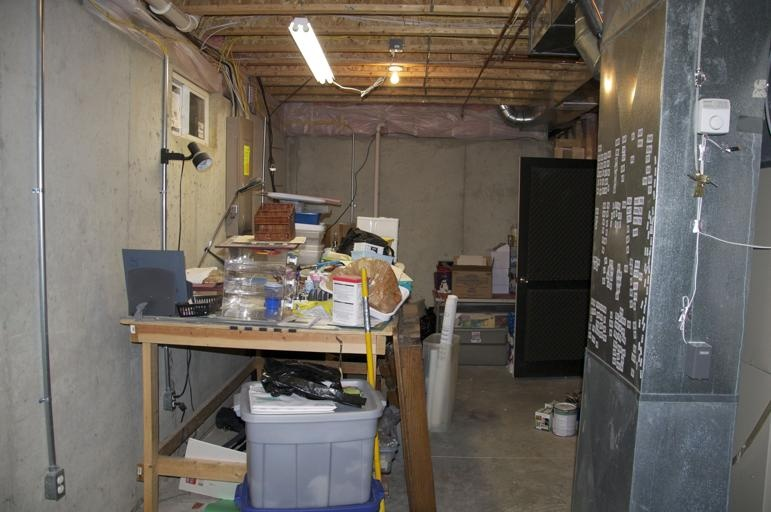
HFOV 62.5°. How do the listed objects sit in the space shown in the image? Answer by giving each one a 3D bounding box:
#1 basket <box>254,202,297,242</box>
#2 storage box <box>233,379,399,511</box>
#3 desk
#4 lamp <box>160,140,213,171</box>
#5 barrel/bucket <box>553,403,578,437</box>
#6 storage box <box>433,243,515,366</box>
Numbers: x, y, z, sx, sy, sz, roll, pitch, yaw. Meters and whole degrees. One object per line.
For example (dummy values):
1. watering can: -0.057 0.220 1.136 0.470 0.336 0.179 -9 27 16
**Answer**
1. basket: -0.851 -0.257 4.859 0.280 0.290 0.280 1 1 2
2. storage box: -0.426 1.118 3.698 0.668 0.428 0.547 0 -1 -5
3. desk: -0.899 0.878 4.813 1.480 1.430 1.517 1 0 3
4. lamp: -1.561 -0.777 4.860 0.335 0.197 0.690 0 12 -23
5. barrel/bucket: 1.611 1.469 5.692 0.226 0.248 0.230 0 4 0
6. storage box: 1.167 0.653 7.814 1.502 1.558 1.090 0 -1 6
